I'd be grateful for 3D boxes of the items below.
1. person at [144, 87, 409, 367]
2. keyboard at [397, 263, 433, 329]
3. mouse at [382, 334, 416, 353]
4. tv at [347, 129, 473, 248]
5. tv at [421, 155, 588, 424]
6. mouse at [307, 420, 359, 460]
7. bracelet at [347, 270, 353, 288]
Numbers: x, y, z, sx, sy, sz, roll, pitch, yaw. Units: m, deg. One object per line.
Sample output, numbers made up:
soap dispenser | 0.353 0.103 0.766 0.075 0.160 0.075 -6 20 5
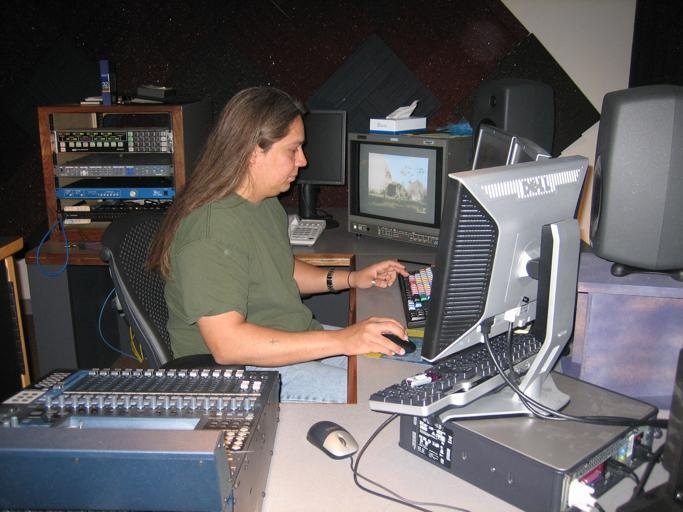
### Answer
person | -0.242 -0.076 1.690 0.540 0.888 0.704 -4 7 -31
keyboard | 0.242 0.140 1.887 0.093 0.029 0.216 -22 30 14
mouse | 0.165 0.251 1.619 0.096 0.025 0.054 26 3 0
tv | 0.281 -0.345 2.813 0.693 0.655 0.506 10 18 32
tv | 0.383 0.098 1.289 0.524 0.611 0.240 -14 22 -31
mouse | -0.020 0.424 1.307 0.067 0.034 0.105 -9 12 -38
bracelet | 0.028 0.089 2.142 0.012 0.046 0.043 4 -17 -9
